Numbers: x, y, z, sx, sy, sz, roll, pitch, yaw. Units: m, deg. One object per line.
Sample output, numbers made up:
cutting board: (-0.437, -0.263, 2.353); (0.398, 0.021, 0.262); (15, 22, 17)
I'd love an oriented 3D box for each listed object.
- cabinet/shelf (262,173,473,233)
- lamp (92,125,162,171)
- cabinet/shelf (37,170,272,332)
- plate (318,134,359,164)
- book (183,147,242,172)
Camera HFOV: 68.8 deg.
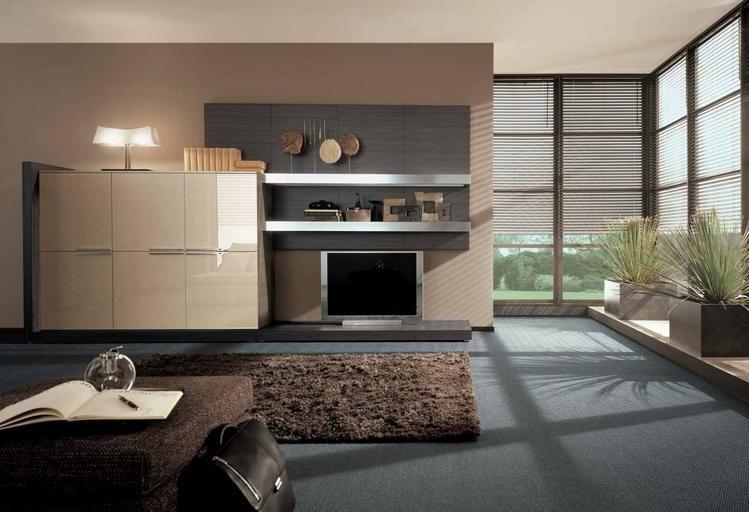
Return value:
cabinet/shelf: (-0.114, -0.648, 7.011); (2.546, 0.674, 0.691); (0, 0, -4)
lamp: (-3.076, -1.314, 6.792); (0.720, 0.489, 0.519); (-2, 8, -19)
cabinet/shelf: (-2.680, -0.071, 6.392); (2.020, 1.314, 0.621); (0, -2, -1)
plate: (-0.449, -1.343, 6.892); (0.530, 0.377, 0.155); (-2, 15, -6)
book: (-2.009, -1.184, 6.701); (0.541, 0.229, 0.362); (0, 3, 5)
